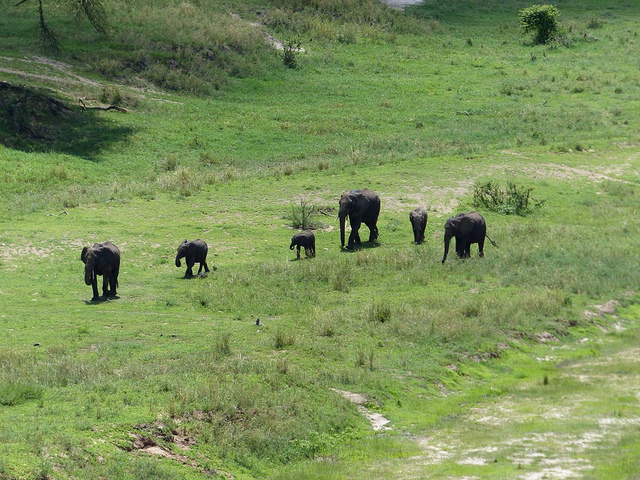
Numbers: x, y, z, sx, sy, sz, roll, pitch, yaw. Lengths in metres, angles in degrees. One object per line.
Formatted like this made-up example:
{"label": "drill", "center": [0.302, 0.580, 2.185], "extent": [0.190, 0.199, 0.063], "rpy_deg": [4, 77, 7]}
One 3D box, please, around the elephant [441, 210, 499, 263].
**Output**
{"label": "elephant", "center": [5.974, -0.076, 44.915], "extent": [2.831, 1.885, 1.068], "rpy_deg": [-8, 9, -34]}

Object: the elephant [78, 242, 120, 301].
{"label": "elephant", "center": [-7.892, 1.187, 41.440], "extent": [1.039, 2.084, 2.314], "rpy_deg": [-1, 3, 16]}

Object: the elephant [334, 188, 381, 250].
{"label": "elephant", "center": [1.537, -0.763, 46.197], "extent": [1.322, 2.401, 2.627], "rpy_deg": [7, 9, 37]}

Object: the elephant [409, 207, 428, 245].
{"label": "elephant", "center": [4.003, -0.525, 46.279], "extent": [0.635, 1.436, 0.800], "rpy_deg": [1, 6, 4]}

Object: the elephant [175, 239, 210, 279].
{"label": "elephant", "center": [-4.815, 0.762, 43.227], "extent": [1.427, 1.420, 0.541], "rpy_deg": [-5, 9, -43]}

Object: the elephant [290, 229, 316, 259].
{"label": "elephant", "center": [-0.611, 0.150, 44.752], "extent": [1.251, 1.035, 0.633], "rpy_deg": [2, -3, -42]}
